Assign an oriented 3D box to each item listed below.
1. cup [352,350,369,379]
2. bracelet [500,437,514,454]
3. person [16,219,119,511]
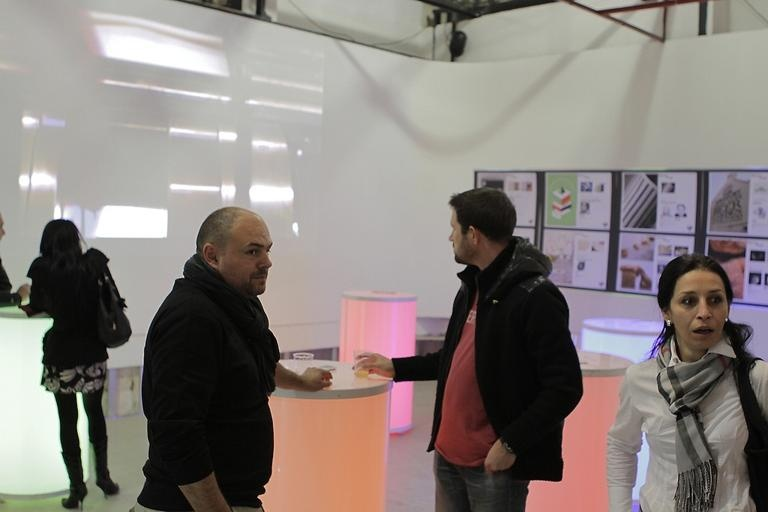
[{"bbox_3d":[-0.151,0.669,3.886,0.141,0.144,0.121,0,-1,11],"label":"cup"},{"bbox_3d":[0.607,0.940,3.099,0.023,0.069,0.053,-38,-32,12],"label":"bracelet"},{"bbox_3d":[-2.425,0.855,4.846,0.622,2.280,0.349,-2,3,-31],"label":"person"}]
